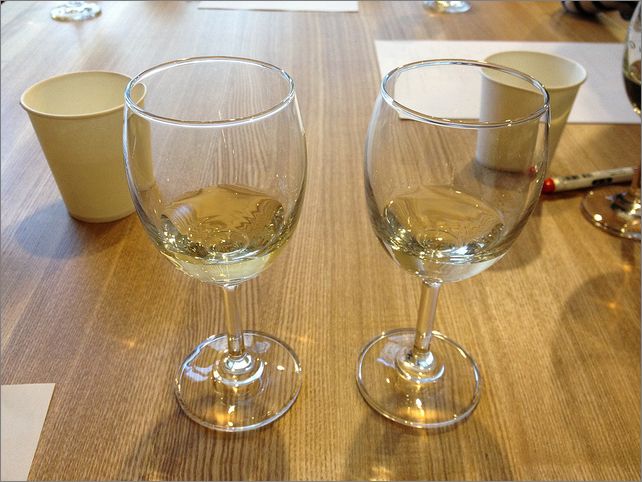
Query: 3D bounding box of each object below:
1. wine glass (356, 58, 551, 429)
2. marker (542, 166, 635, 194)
[{"bbox_3d":[0.095,0.011,0.527,0.199,0.346,0.226,3,28,-3],"label":"wine glass"},{"bbox_3d":[0.391,-0.087,0.710,0.167,0.022,0.020,-13,33,-15],"label":"marker"}]
